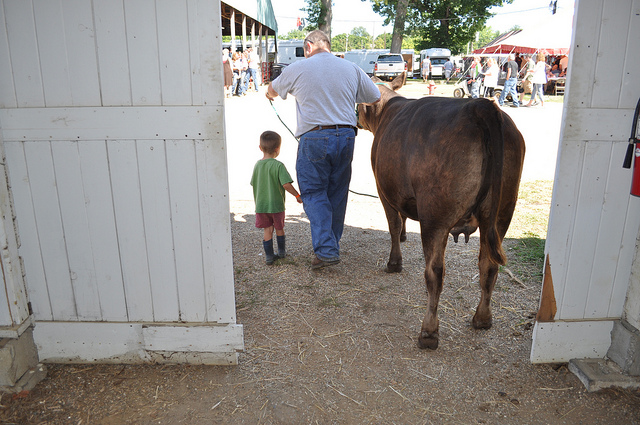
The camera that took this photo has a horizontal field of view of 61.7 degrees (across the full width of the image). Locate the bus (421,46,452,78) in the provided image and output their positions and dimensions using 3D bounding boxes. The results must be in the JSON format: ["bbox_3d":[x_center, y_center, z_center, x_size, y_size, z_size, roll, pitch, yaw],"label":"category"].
[{"bbox_3d":[7.867,-10.131,35.841,2.087,2.015,3.666,-1,14,3],"label":"bus"}]

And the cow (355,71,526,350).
[{"bbox_3d":[1.022,-0.331,6.011,1.033,2.406,3.633,-5,17,-11],"label":"cow"}]

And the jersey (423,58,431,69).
[{"bbox_3d":[6.372,-8.809,31.836,0.340,0.589,1.167,1,18,12],"label":"jersey"}]

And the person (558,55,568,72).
[{"bbox_3d":[10.896,-6.631,23.875,0.268,0.677,1.016,4,19,20],"label":"person"}]

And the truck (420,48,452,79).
[{"bbox_3d":[8.170,-10.194,36.672,2.080,2.137,3.874,0,14,4],"label":"truck"}]

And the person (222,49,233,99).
[{"bbox_3d":[-2.834,-4.342,16.540,0.416,1.415,0.401,9,16,41],"label":"person"}]

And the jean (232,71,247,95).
[{"bbox_3d":[-3.110,-4.929,20.487,0.538,0.889,1.285,-6,18,-9],"label":"jean"}]

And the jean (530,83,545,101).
[{"bbox_3d":[7.217,-3.987,17.676,0.352,0.636,0.959,4,19,20],"label":"jean"}]

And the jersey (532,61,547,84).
[{"bbox_3d":[7.000,-4.413,16.936,0.351,0.706,0.455,4,19,19],"label":"jersey"}]
